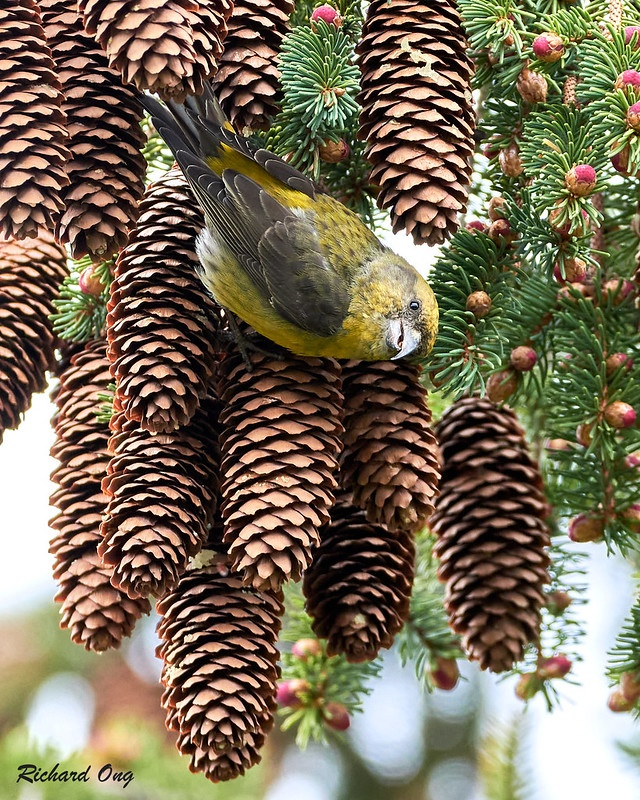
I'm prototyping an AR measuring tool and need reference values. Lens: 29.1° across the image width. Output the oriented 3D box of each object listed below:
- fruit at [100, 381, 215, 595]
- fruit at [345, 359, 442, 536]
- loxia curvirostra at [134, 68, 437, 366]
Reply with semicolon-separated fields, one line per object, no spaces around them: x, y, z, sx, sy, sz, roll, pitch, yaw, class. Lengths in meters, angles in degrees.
-0.354;0.193;2.729;0.253;0.434;0.345;9;9;-9;fruit
0.140;0.072;2.865;0.224;0.504;0.188;-4;26;16;fruit
-0.064;-0.478;3.347;0.383;1.120;0.494;-27;-15;-29;loxia curvirostra
